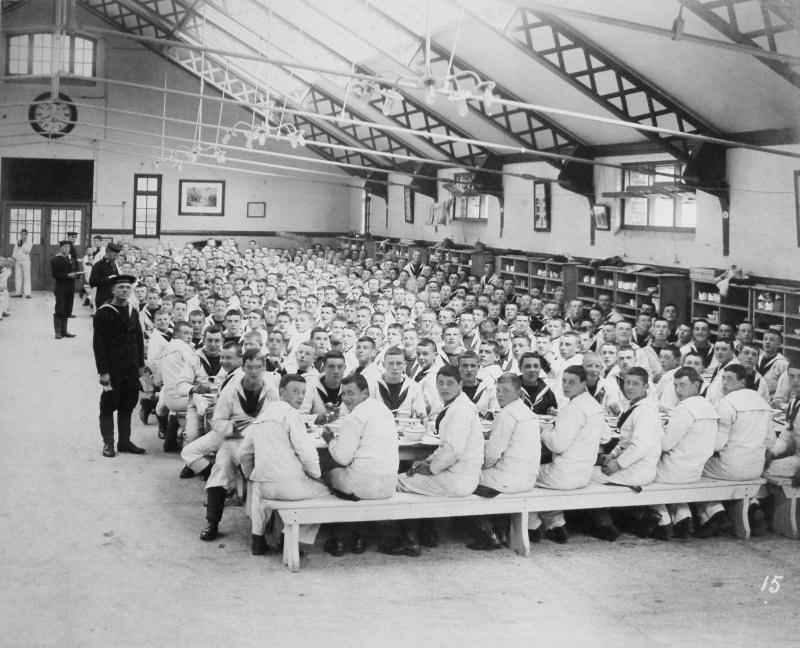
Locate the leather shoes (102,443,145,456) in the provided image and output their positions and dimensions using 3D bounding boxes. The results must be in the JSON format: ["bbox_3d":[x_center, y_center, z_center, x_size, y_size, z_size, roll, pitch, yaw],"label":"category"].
[{"bbox_3d":[-3.269,1.489,10.596,0.501,0.215,0.184,-2,3,-8],"label":"leather shoes"}]

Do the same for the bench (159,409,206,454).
[{"bbox_3d":[-2.702,1.291,11.024,0.636,0.657,0.654,1,0,-12],"label":"bench"}]

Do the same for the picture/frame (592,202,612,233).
[{"bbox_3d":[4.091,-2.183,18.042,0.185,0.680,0.629,-3,0,-14],"label":"picture/frame"}]

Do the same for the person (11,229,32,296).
[{"bbox_3d":[-10.423,-1.670,24.638,0.497,1.974,1.366,-5,15,-23],"label":"person"}]

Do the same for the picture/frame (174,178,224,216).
[{"bbox_3d":[-7.545,-4.774,33.118,1.367,1.204,0.117,0,10,-14],"label":"picture/frame"}]

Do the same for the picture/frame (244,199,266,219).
[{"bbox_3d":[-5.534,-4.402,33.834,0.679,0.600,0.052,-3,10,-17],"label":"picture/frame"}]
